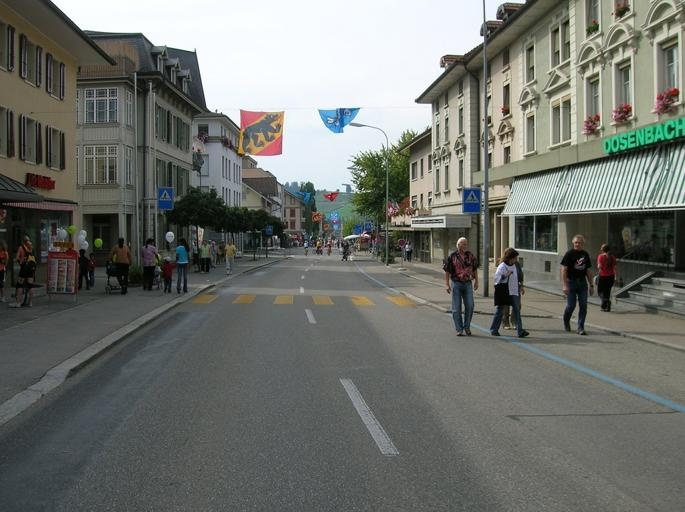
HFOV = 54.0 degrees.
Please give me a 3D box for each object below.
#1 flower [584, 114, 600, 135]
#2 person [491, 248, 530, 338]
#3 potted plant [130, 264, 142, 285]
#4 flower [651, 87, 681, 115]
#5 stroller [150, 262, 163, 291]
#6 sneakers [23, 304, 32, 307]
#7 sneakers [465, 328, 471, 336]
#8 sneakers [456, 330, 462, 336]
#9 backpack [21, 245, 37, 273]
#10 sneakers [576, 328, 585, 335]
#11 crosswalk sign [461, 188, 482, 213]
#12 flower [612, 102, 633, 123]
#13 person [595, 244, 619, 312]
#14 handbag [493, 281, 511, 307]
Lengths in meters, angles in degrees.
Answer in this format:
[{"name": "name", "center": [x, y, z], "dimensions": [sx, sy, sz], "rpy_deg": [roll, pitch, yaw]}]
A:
[{"name": "flower", "center": [8.672, -4.563, 23.277], "dimensions": [0.469, 0.555, 0.529], "rpy_deg": [-3, -4, 13]}, {"name": "person", "center": [3.562, 0.768, 14.349], "dimensions": [0.750, 1.844, 0.714], "rpy_deg": [1, 4, 6]}, {"name": "potted plant", "center": [-7.466, 0.717, 24.367], "dimensions": [0.478, 0.647, 0.533], "rpy_deg": [0, 1, -14]}, {"name": "flower", "center": [9.204, -4.409, 19.082], "dimensions": [0.272, 0.687, 0.846], "rpy_deg": [-1, 5, -12]}, {"name": "stroller", "center": [-6.785, 0.797, 24.836], "dimensions": [0.484, 0.787, 1.105], "rpy_deg": [1, 7, -4]}, {"name": "sneakers", "center": [-8.502, 1.337, 18.204], "dimensions": [0.199, 0.100, 0.296], "rpy_deg": [-2, 6, -18]}, {"name": "sneakers", "center": [2.691, 1.625, 14.353], "dimensions": [0.101, 0.131, 0.269], "rpy_deg": [-2, -5, 3]}, {"name": "sneakers", "center": [2.492, 1.654, 14.206], "dimensions": [0.127, 0.076, 0.282], "rpy_deg": [1, 6, 8]}, {"name": "backpack", "center": [-8.592, 0.156, 18.619], "dimensions": [0.600, 0.740, 0.401], "rpy_deg": [-6, -7, 37]}, {"name": "sneakers", "center": [5.179, 1.653, 14.572], "dimensions": [0.079, 0.108, 0.246], "rpy_deg": [-1, -7, 4]}, {"name": "crosswalk sign", "center": [4.450, -1.918, 23.063], "dimensions": [0.568, 0.848, 1.410], "rpy_deg": [1, 5, 8]}, {"name": "flower", "center": [8.860, -4.532, 21.207], "dimensions": [0.449, 0.377, 0.486], "rpy_deg": [-14, 6, -25]}, {"name": "person", "center": [7.209, 0.575, 18.345], "dimensions": [0.421, 1.747, 1.213], "rpy_deg": [2, 5, 22]}, {"name": "handbag", "center": [3.429, 0.813, 14.315], "dimensions": [0.433, 0.696, 0.242], "rpy_deg": [-1, 11, 16]}]
